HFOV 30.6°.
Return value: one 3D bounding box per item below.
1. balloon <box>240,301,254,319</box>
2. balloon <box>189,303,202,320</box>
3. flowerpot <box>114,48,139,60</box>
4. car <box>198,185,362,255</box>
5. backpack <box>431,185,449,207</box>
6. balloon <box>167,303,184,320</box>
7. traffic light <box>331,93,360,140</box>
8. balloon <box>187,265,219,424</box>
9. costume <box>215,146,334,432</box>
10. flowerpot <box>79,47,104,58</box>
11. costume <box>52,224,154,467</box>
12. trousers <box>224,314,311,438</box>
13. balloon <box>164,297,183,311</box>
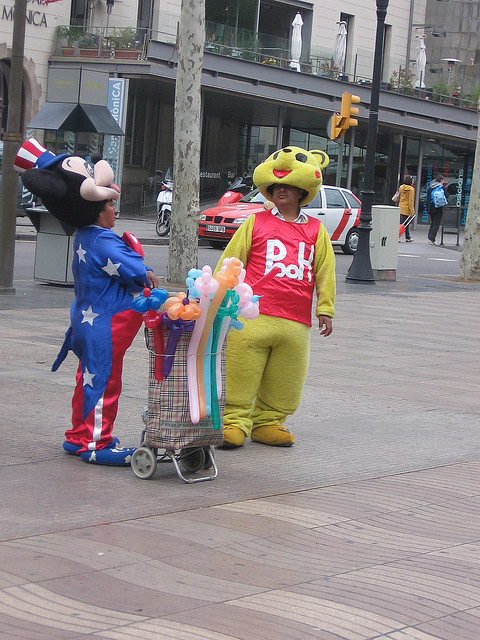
[{"bbox_3d":[0.036,-0.059,4.482,0.069,0.088,0.083,2,4,-26],"label":"balloon"},{"bbox_3d":[-0.220,-0.049,4.282,0.041,0.070,0.075,-32,-18,34],"label":"balloon"},{"bbox_3d":[-3.735,-8.820,28.857,0.585,0.188,0.547,1,2,-6],"label":"flowerpot"},{"bbox_3d":[1.169,-2.595,21.815,4.624,1.653,2.202,0,4,-30],"label":"car"},{"bbox_3d":[6.290,-3.953,27.722,0.471,0.695,0.588,5,4,10],"label":"backpack"},{"bbox_3d":[-0.309,-0.048,4.196,0.062,0.080,0.034,29,-24,8],"label":"balloon"},{"bbox_3d":[2.033,-4.010,16.905,0.494,1.011,1.403,4,4,6],"label":"traffic light"},{"bbox_3d":[-0.185,0.126,4.394,0.181,0.817,0.137,3,0,26],"label":"balloon"},{"bbox_3d":[0.237,-0.183,5.473,0.827,1.712,0.822,4,15,-7],"label":"costume"},{"bbox_3d":[-5.296,-9.504,30.954,0.827,0.284,0.782,2,4,12],"label":"flowerpot"},{"bbox_3d":[-0.710,0.065,4.766,0.554,1.387,0.627,3,-2,-27],"label":"costume"},{"bbox_3d":[0.145,0.337,5.486,0.613,0.771,0.312,4,8,-31],"label":"trousers"},{"bbox_3d":[-0.321,-0.086,4.254,0.070,0.034,0.066,-11,21,6],"label":"balloon"}]
